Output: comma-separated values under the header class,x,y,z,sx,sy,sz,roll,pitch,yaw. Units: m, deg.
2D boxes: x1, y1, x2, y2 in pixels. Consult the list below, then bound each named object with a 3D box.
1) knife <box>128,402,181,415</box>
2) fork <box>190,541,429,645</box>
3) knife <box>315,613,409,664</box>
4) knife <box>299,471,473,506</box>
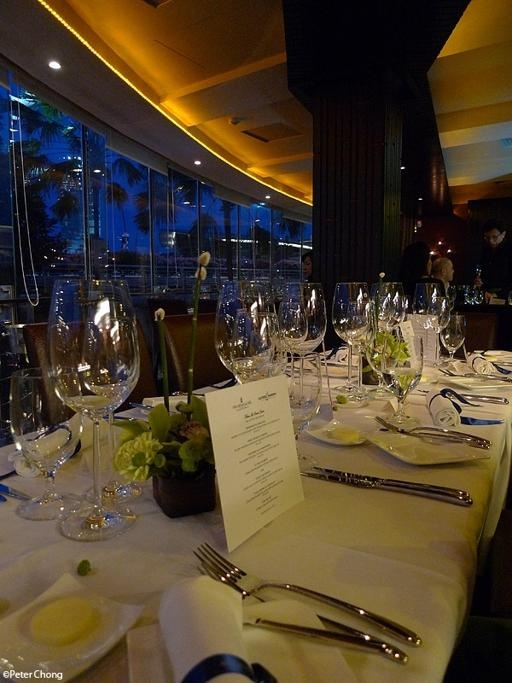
class,x,y,z,sx,sy,sz,roll,pitch,yaw
knife,-0.187,0.120,0.884,0.074,0.012,0.074,1,6,5
fork,0.047,0.210,0.402,0.215,0.025,0.030,10,13,33
knife,0.078,0.217,0.361,0.071,0.006,0.021,12,29,17
knife,0.176,0.200,0.658,0.152,0.016,0.023,4,19,22
